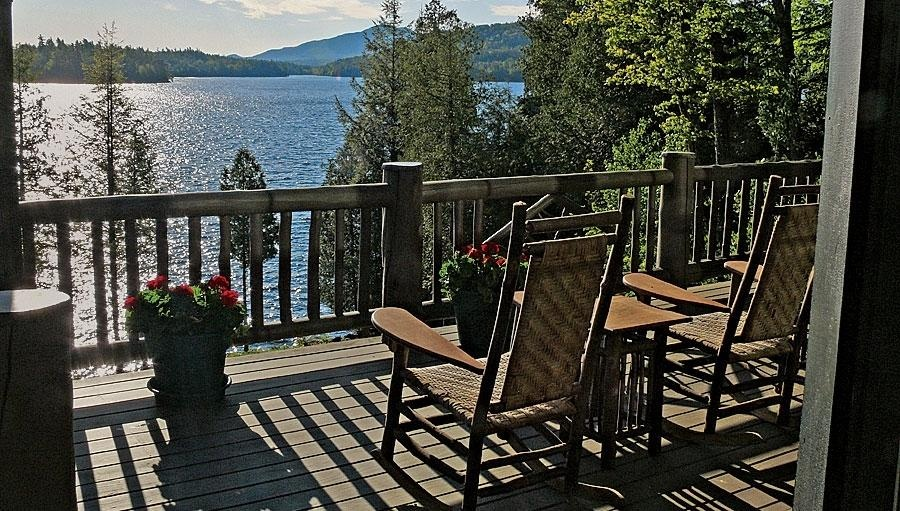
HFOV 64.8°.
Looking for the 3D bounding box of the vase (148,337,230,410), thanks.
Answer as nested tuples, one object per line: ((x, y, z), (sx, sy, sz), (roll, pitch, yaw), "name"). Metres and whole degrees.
((-1.655, 0.682, 4.435), (0.470, 0.327, 0.475), (2, 4, 40), "vase")

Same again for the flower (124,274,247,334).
((-1.588, 0.318, 4.281), (0.512, 0.219, 0.434), (1, -4, -4), "flower")

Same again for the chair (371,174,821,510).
((0.562, 0.272, 4.495), (2.559, 1.568, 2.186), (-9, 15, -26), "chair")
